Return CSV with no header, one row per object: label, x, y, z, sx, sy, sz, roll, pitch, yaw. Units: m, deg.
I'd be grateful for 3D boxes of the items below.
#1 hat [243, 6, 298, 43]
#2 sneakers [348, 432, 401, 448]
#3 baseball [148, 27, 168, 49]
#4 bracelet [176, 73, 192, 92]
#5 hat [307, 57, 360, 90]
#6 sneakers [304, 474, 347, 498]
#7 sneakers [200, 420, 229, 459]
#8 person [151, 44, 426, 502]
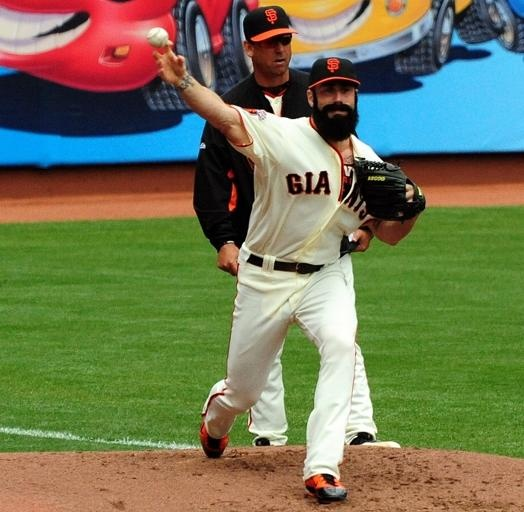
hat,0.023,-1.456,7.460,0.238,0.156,0.296,-6,5,-13
sneakers,0.687,1.147,7.251,0.349,0.130,0.116,-3,-5,13
baseball,-0.560,-1.180,6.415,0.122,0.117,0.066,-20,-2,-4
bracelet,-0.415,-0.940,6.363,0.035,0.092,0.092,32,32,-35
hat,0.412,-1.022,6.626,0.276,0.172,0.169,-2,19,1
sneakers,0.340,1.236,6.312,0.108,0.100,0.230,1,-1,-30
sneakers,-0.291,1.121,7.068,0.139,0.238,0.081,2,9,-12
person,0.298,0.019,6.744,1.141,2.451,1.127,16,27,42
